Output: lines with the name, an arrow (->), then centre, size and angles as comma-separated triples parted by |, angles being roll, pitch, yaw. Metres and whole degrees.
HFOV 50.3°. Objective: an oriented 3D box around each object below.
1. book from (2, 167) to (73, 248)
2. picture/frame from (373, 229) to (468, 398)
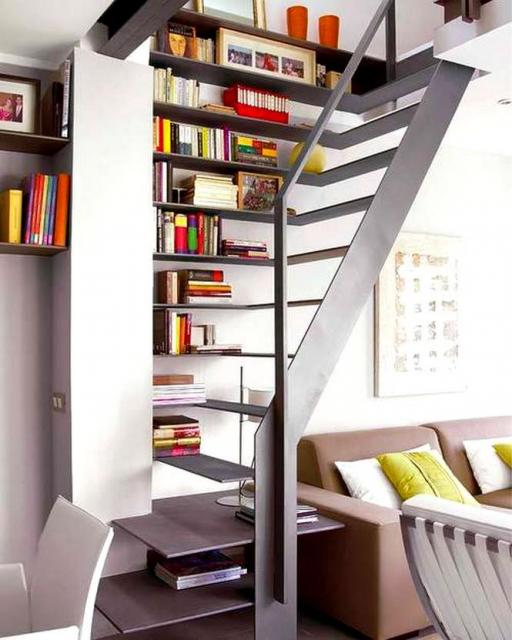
book -> -0.990, -0.435, 2.542 | 0.299, 0.390, 0.402 | 3, -4, -29
picture/frame -> 1.210, -0.030, 4.117 | 1.318, 1.514, 0.109 | -3, 4, -35
